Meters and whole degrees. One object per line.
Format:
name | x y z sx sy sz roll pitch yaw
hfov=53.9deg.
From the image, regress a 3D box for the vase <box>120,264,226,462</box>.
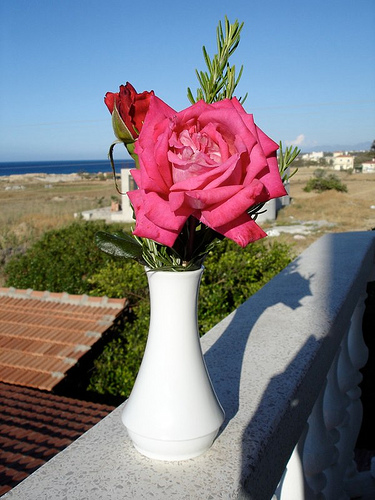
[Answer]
vase | -0.030 0.162 0.553 0.161 0.235 0.123 -9 3 -10
